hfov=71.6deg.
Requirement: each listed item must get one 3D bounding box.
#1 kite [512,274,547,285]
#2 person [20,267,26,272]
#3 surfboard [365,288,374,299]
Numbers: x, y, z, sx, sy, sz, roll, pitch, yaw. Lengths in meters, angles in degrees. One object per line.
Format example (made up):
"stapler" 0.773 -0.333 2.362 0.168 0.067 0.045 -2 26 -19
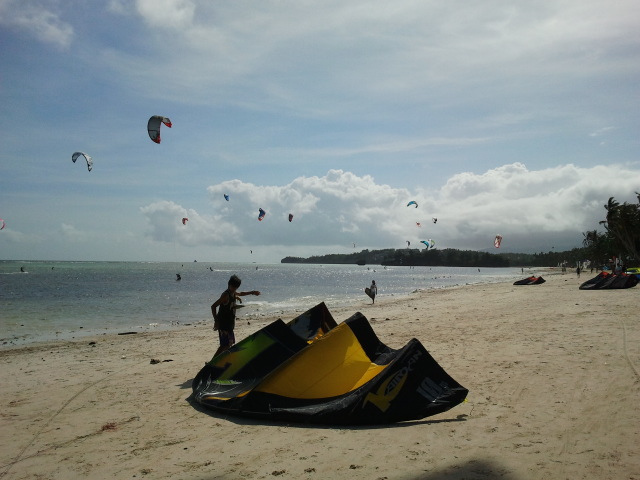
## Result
"kite" 17.946 3.521 37.918 1.983 0.672 1.627 0 -3 8
"person" -63.691 6.449 95.136 0.800 0.472 1.007 -24 -17 -19
"surfboard" 2.780 3.035 24.585 0.287 0.490 0.710 2 -3 -12
